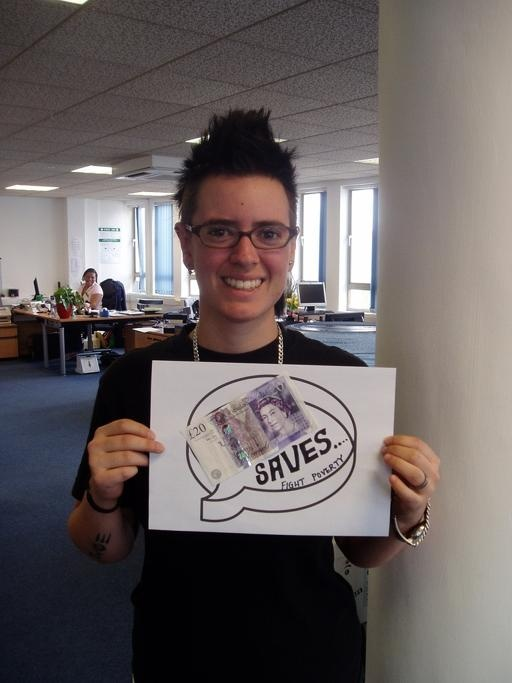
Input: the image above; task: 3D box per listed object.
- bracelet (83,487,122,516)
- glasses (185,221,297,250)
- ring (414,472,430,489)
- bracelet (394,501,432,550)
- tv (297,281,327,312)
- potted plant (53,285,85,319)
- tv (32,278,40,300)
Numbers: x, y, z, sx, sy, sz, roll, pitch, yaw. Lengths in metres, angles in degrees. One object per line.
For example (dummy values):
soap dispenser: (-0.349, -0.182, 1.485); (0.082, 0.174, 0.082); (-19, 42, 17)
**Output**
bracelet: (-0.239, 0.256, 0.823); (0.040, 0.040, 0.011); (-15, 21, 33)
glasses: (-0.021, -0.159, 0.820); (0.150, 0.042, 0.040); (0, 7, -6)
ring: (0.224, 0.189, 0.720); (0.008, 0.019, 0.019); (11, 36, 19)
bracelet: (0.249, 0.281, 0.830); (0.033, 0.079, 0.056); (11, -16, -21)
tv: (0.857, -0.683, 8.326); (0.514, 0.500, 0.163); (-2, 4, -26)
potted plant: (-2.597, -0.530, 7.494); (0.431, 0.456, 0.476); (1, -1, -12)
tv: (-4.190, -1.005, 10.216); (0.119, 0.344, 2.148); (-2, 8, -23)
